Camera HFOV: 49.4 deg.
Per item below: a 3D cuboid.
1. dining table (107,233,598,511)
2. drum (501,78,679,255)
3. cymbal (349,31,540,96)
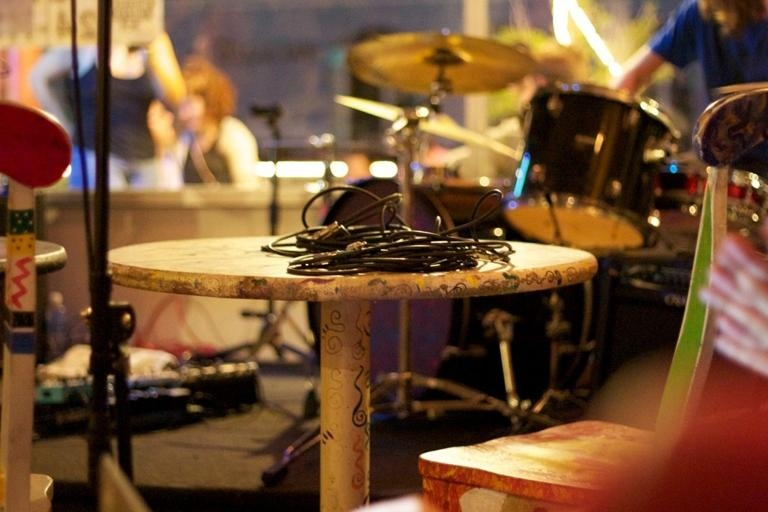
[{"bbox_3d":[-0.145,0.174,1.891,0.769,0.546,0.766,2,0,-21],"label":"dining table"},{"bbox_3d":[0.767,-0.329,3.192,0.595,0.448,0.588,13,-5,1],"label":"drum"},{"bbox_3d":[0.206,-0.706,3.060,0.411,0.097,0.416,-1,-18,12],"label":"cymbal"}]
